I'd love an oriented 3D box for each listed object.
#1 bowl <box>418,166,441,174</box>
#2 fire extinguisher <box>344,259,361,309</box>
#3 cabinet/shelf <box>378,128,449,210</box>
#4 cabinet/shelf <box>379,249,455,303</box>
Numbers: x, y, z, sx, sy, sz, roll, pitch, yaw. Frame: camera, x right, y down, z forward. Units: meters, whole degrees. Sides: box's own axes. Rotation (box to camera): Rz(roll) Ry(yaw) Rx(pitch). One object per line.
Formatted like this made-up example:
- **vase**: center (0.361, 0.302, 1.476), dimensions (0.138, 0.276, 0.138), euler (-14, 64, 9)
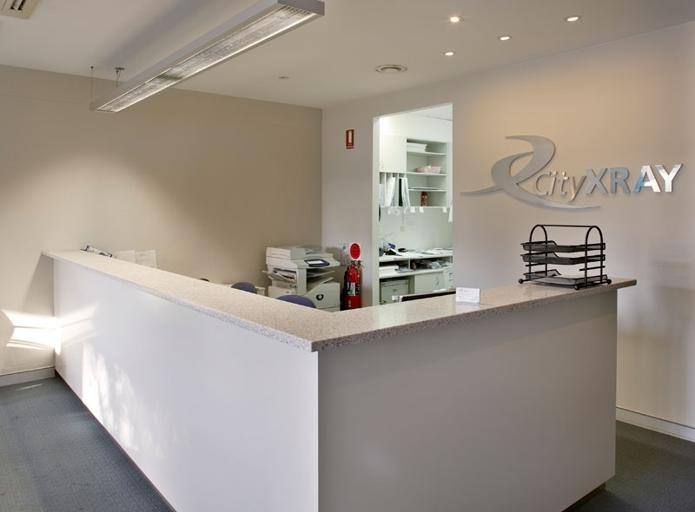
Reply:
- **bowl**: center (1.230, -1.295, 7.198), dimensions (0.202, 0.074, 0.191), euler (0, 3, 0)
- **fire extinguisher**: center (0.075, 0.378, 6.174), dimensions (0.208, 0.652, 0.324), euler (-4, 8, -39)
- **cabinet/shelf**: center (0.950, -1.324, 6.965), dimensions (1.390, 1.193, 0.407), euler (0, 0, -36)
- **cabinet/shelf**: center (0.931, 0.275, 6.936), dimensions (1.604, 0.676, 0.502), euler (-3, 8, -39)
